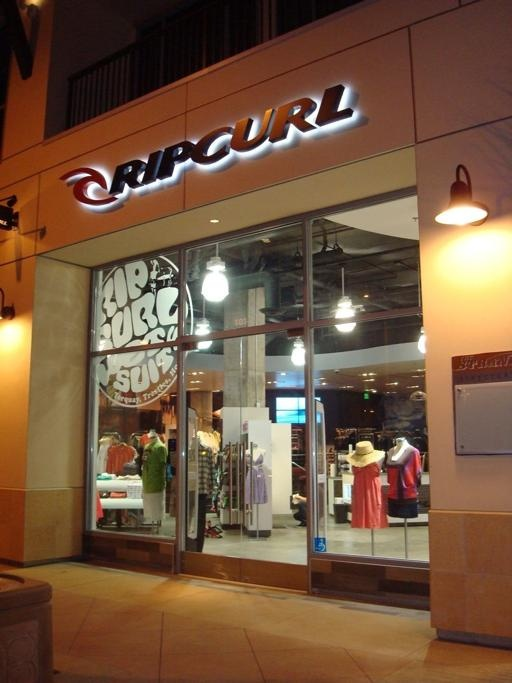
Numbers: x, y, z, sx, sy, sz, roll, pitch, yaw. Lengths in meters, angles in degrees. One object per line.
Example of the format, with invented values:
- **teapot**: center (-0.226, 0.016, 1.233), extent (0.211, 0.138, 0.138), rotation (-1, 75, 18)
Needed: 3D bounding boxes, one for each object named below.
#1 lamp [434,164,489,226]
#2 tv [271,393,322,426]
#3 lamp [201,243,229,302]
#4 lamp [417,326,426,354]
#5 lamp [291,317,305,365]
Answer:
- **lamp**: center (1.143, -0.856, 3.242), extent (0.270, 0.293, 0.254), rotation (-3, -1, -23)
- **tv**: center (0.353, 0.588, 4.894), extent (0.120, 0.243, 0.521), rotation (8, -13, -41)
- **lamp**: center (-0.414, -0.669, 5.688), extent (0.311, 0.597, 0.081), rotation (-9, -13, 38)
- **lamp**: center (1.229, -0.008, 4.249), extent (0.044, 0.210, 0.126), rotation (-2, -10, 5)
- **lamp**: center (0.359, 0.047, 4.936), extent (0.039, 0.344, 0.176), rotation (7, -13, -37)
